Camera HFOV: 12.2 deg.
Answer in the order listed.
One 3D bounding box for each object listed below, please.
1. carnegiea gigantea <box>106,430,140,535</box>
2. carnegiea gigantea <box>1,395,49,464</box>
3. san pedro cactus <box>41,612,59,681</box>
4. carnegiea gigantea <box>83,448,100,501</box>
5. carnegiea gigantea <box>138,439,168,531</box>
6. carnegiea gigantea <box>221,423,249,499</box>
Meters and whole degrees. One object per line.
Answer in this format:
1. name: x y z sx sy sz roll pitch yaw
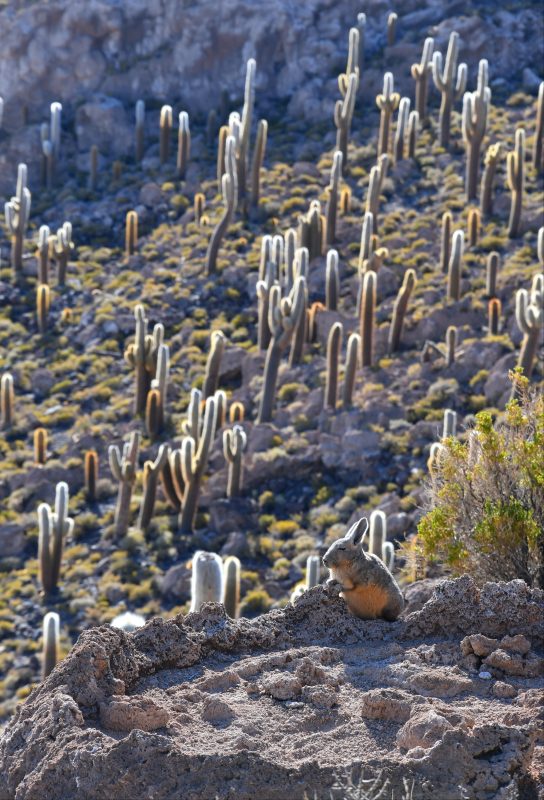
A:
1. carnegiea gigantea: -2.321 1.218 39.327 0.468 1.731 1.404 0 6 -4
2. carnegiea gigantea: -3.918 0.442 41.157 0.675 0.915 1.586 -2 7 -23
3. san pedro cactus: -3.259 3.518 37.057 0.245 1.055 1.026 0 6 -5
4. carnegiea gigantea: -2.898 1.148 40.279 0.207 0.826 0.727 0 6 -6
5. carnegiea gigantea: -1.873 1.323 39.465 0.366 1.976 0.262 22 36 18
6. carnegiea gigantea: -0.589 0.912 39.243 0.272 1.294 0.292 -6 34 -12
